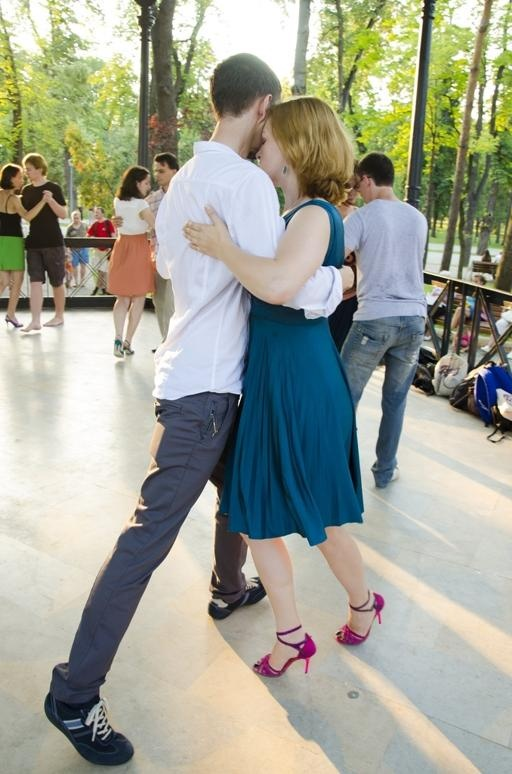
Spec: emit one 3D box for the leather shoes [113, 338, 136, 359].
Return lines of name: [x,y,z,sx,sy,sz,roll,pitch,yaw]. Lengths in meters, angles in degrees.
leather shoes: [-1.456,-0.427,6.470,0.116,0.146,0.341,2,2,9]

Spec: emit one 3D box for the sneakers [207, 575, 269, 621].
sneakers: [-0.070,0.811,2.275,0.098,0.125,0.294,9,18,35]

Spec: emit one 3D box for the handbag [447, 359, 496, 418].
handbag: [1.921,0.022,5.215,0.230,0.393,0.410,31,31,28]

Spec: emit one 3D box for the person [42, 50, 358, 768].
person: [-0.249,0.027,1.685,0.779,1.884,0.607,-4,15,-29]

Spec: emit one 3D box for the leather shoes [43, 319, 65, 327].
leather shoes: [-2.799,-0.876,8.101,0.102,0.132,0.301,15,4,21]

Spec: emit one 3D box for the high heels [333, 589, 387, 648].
high heels: [0.400,0.838,2.145,0.098,0.142,0.276,-6,-2,38]

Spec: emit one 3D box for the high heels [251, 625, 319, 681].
high heels: [0.126,0.838,1.912,0.258,0.184,0.122,-2,5,11]

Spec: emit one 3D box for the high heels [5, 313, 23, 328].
high heels: [-3.272,-0.884,7.819,0.109,0.171,0.356,-7,15,-42]
